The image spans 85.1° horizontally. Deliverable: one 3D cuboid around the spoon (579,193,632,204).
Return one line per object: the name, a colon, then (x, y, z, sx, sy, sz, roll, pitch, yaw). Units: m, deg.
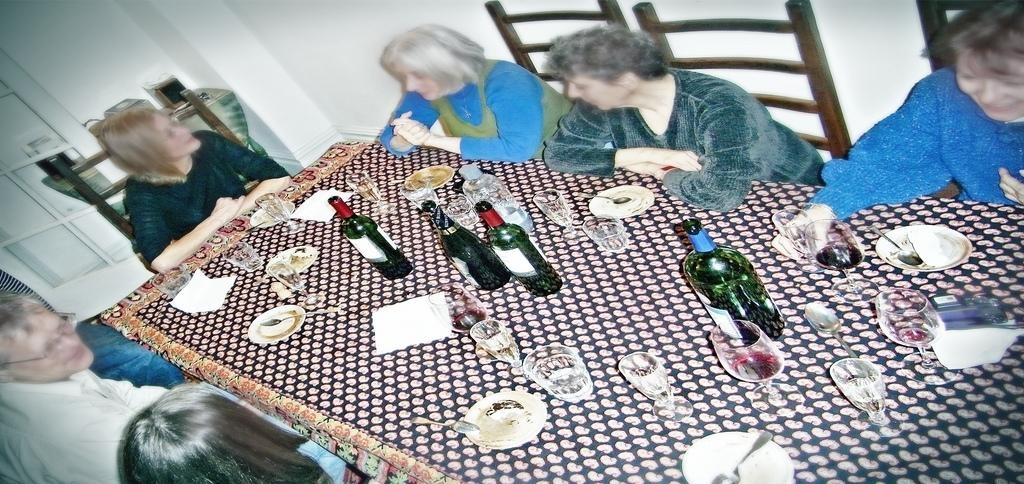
spoon: (0.471, -0.217, 2.825, 0.261, 0.030, 0.059, 8, 80, 7)

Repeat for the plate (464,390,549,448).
plate: (-0.027, 0.760, 2.405, 0.361, 0.145, 0.214, -10, 36, 6)

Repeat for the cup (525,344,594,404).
cup: (0.204, 0.568, 2.492, 0.249, 0.214, 0.254, -33, 34, 26)

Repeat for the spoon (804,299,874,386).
spoon: (1.396, 0.406, 2.339, 0.099, 0.050, 0.409, -39, 61, -3)

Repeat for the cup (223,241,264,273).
cup: (-1.494, 0.087, 3.106, 0.255, 0.064, 0.152, 11, 43, 35)

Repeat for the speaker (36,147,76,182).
speaker: (-2.897, -0.486, 3.581, 0.176, 0.148, 0.066, -38, 42, -27)

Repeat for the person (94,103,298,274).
person: (-2.149, -0.332, 3.688, 0.764, 1.173, 0.867, 8, 64, 38)

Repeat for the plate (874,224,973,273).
plate: (1.776, 0.025, 2.418, 0.348, 0.132, 0.206, 1, 38, 21)

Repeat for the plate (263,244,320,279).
plate: (-1.157, 0.087, 2.997, 0.218, 0.044, 0.205, 23, 52, 37)

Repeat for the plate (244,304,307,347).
plate: (-1.174, 0.422, 2.802, 0.277, 0.046, 0.212, -11, 39, 9)

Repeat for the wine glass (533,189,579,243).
wine glass: (0.227, -0.121, 2.806, 0.170, 0.302, 0.170, -36, 23, 31)

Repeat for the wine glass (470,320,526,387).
wine glass: (-0.044, 0.468, 2.454, 0.285, 0.124, 0.202, 42, 83, 13)

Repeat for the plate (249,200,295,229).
plate: (-1.406, -0.143, 3.271, 0.229, 0.048, 0.164, -7, 70, 21)

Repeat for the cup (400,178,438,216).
cup: (-0.488, -0.237, 2.989, 0.204, 0.193, 0.116, 38, 77, 15)
